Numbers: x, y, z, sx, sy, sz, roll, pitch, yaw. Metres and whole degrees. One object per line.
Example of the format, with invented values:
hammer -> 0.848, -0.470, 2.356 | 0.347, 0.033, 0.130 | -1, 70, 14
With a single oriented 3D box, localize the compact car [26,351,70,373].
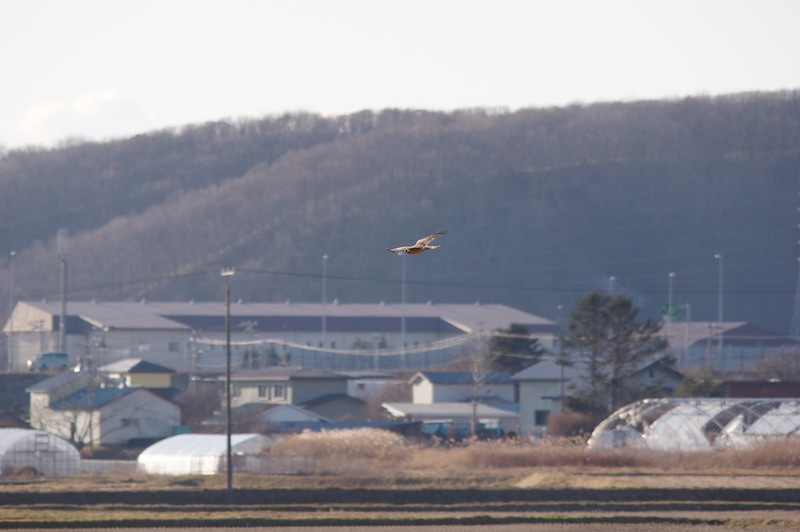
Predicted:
compact car -> -15.501, 4.044, 110.845 | 1.751, 0.898, 1.256 | -1, -8, -6
